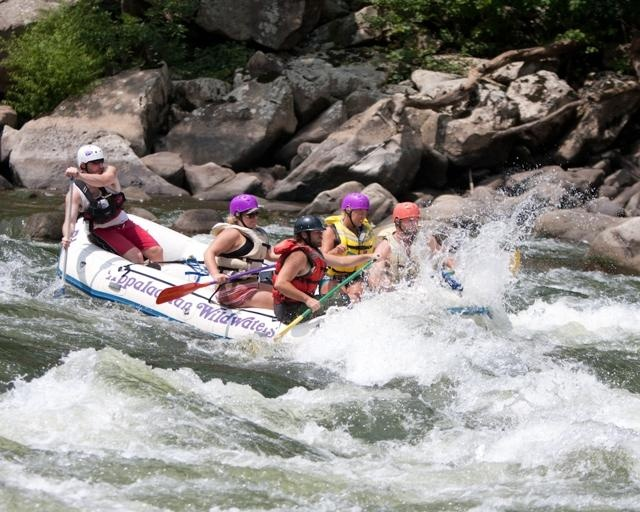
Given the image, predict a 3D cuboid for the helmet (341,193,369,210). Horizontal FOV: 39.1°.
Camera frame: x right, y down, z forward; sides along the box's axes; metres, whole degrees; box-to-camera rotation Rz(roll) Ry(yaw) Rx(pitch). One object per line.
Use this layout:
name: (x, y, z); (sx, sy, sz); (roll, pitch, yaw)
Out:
helmet: (0.447, -0.725, 11.915); (0.350, 0.134, 0.234); (2, 4, 24)

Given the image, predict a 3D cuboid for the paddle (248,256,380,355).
paddle: (-0.124, 0.645, 11.168); (2.640, 0.239, 0.157); (-29, 24, -30)

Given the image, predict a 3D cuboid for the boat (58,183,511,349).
boat: (-0.947, 0.223, 11.714); (5.312, 0.785, 2.153); (11, 7, 24)

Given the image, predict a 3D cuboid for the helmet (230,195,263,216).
helmet: (-1.004, -0.664, 11.494); (0.386, 0.243, 0.271); (-22, -1, 27)

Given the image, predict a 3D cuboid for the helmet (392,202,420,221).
helmet: (1.095, -0.575, 11.516); (0.340, 0.152, 0.243); (7, 18, 33)

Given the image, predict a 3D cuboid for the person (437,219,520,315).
person: (1.974, 0.362, 11.447); (0.980, 0.799, 0.624); (7, 7, -3)

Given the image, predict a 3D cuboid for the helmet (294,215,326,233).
helmet: (-0.143, -0.394, 10.998); (0.337, 0.111, 0.222); (-3, 2, 4)

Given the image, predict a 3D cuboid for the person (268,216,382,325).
person: (-0.218, 0.174, 11.015); (1.682, 1.795, 0.914); (-1, 33, -2)
